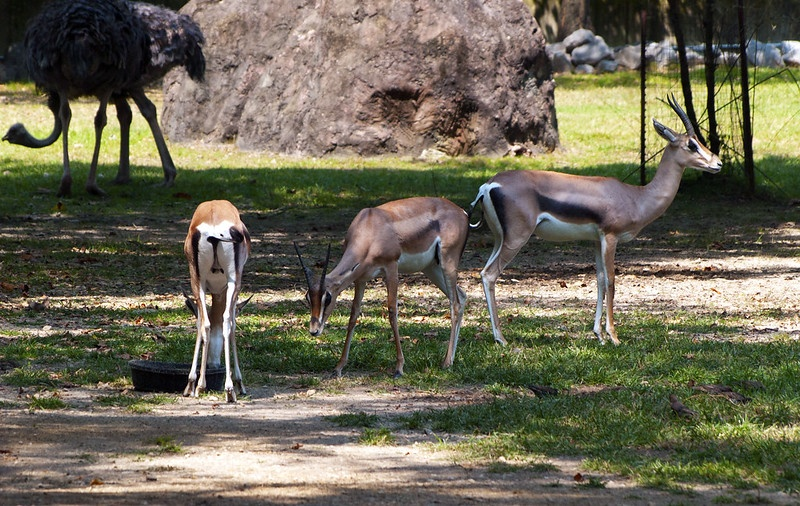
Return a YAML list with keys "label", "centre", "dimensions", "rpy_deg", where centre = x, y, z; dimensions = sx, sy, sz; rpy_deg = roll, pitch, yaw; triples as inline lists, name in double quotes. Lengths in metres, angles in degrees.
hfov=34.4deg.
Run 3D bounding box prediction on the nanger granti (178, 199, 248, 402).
- label: "nanger granti"
  centre: [-3.260, 0.841, 22.930]
  dimensions: [1.128, 3.475, 0.897]
  rpy_deg: [0, 6, 13]
